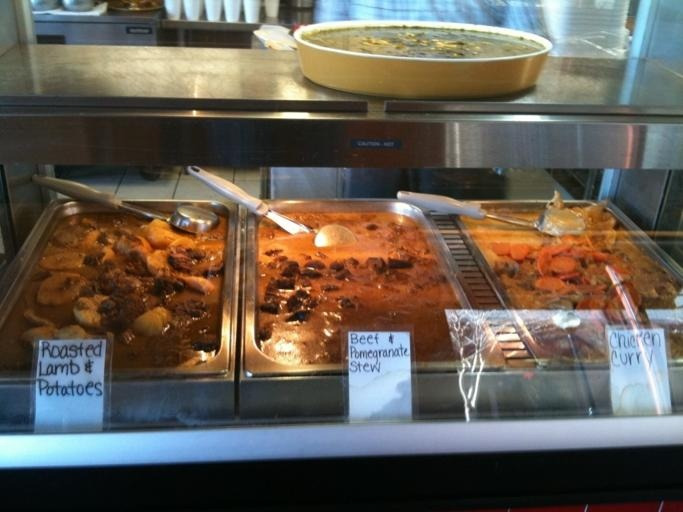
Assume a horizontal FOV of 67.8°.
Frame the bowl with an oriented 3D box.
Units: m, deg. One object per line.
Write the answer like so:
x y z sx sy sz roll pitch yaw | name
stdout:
0.157 -0.436 1.108 0.531 0.092 0.479 -1 33 -4 | bowl
